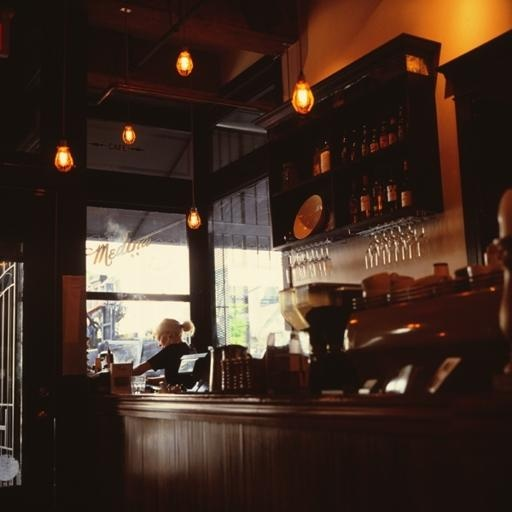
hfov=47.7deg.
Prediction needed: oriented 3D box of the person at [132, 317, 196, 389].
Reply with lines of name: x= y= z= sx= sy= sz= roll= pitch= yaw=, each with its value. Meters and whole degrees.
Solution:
person: x=-0.781 y=0.863 z=4.783 sx=0.452 sy=0.790 sz=0.437 roll=3 pitch=11 yaw=-9

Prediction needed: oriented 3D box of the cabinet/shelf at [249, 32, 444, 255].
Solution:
cabinet/shelf: x=0.699 y=-0.794 z=4.697 sx=0.332 sy=1.273 sz=1.591 roll=4 pitch=-12 yaw=-38

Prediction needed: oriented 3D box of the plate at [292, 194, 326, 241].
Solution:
plate: x=0.466 y=-0.359 z=5.104 sx=0.077 sy=0.358 sz=0.318 roll=12 pitch=-34 yaw=-31

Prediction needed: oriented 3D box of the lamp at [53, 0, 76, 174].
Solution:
lamp: x=-1.276 y=-1.159 z=3.810 sx=0.132 sy=1.346 sz=0.459 roll=-1 pitch=-8 yaw=-19
